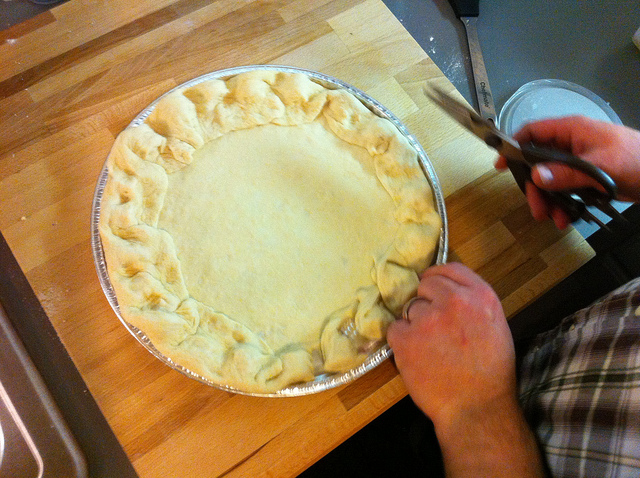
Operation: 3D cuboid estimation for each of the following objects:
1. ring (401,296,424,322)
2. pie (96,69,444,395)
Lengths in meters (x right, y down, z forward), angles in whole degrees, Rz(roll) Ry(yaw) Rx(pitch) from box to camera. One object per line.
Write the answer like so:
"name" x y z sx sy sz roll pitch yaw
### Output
"ring" 0.225 0.173 1.210 0.056 0.014 0.053 -21 62 45
"pie" -0.168 -0.041 1.361 0.969 0.237 0.956 -38 72 18
